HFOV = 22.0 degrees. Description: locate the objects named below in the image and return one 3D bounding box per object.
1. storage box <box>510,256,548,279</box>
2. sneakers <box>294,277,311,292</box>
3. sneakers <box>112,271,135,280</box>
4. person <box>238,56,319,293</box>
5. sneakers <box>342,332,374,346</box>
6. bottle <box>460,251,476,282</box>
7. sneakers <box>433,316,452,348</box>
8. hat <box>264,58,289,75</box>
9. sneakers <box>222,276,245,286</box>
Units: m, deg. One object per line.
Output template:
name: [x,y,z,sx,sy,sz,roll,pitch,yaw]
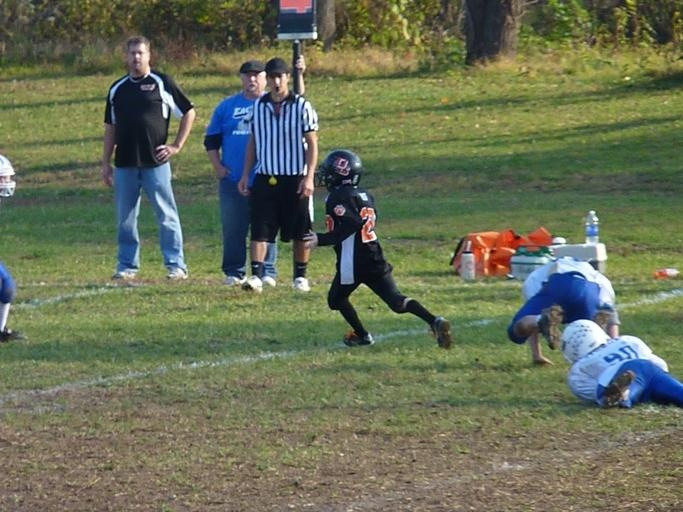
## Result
storage box: [3.019,0.161,28.887,0.448,0.182,0.451,0,10,15]
sneakers: [-0.661,0.456,27.985,0.269,0.236,0.195,-7,5,18]
sneakers: [-3.560,0.321,28.308,0.336,0.136,0.132,9,-4,-28]
person: [-1.037,-1.247,27.456,1.213,3.697,0.947,0,6,5]
sneakers: [0.215,1.238,26.023,0.380,0.152,0.197,3,0,1]
bottle: [2.070,0.175,29.032,0.244,0.438,0.266,-1,7,0]
sneakers: [1.466,1.123,25.593,0.256,0.496,0.203,-7,29,22]
hat: [-1.063,-2.950,27.252,0.346,0.266,0.351,-6,9,-40]
sneakers: [-1.772,0.427,28.209,0.310,0.144,0.132,-3,-35,-26]
